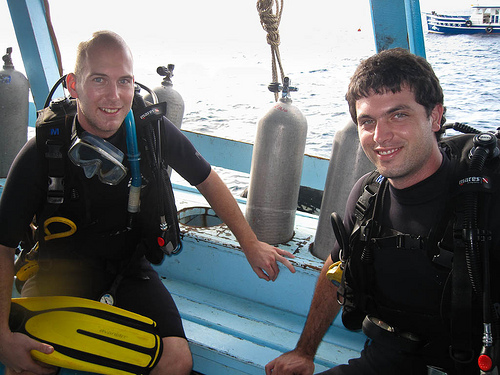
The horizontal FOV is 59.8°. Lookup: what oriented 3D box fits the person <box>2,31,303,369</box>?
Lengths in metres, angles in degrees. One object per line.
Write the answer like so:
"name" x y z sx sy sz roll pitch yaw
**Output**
"person" -0.518 0.079 1.792 1.010 1.406 0.599 -8 16 -21
